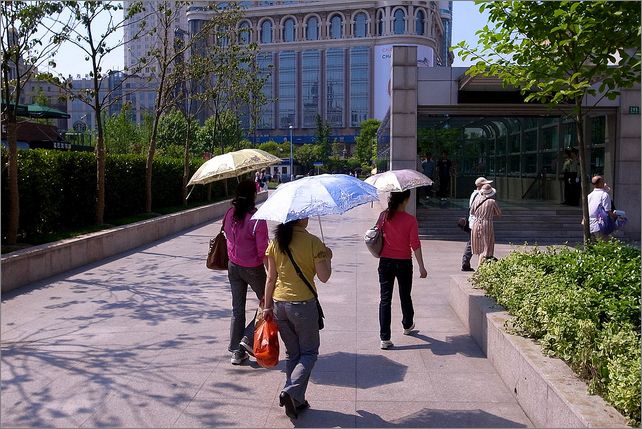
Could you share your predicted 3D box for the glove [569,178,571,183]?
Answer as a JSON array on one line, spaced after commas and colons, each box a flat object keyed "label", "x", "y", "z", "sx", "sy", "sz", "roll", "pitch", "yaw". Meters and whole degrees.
[{"label": "glove", "x": 9.129, "y": -1.270, "z": 21.597, "sx": 0.039, "sy": 0.115, "sz": 0.083, "roll": 1, "pitch": -3, "yaw": -22}]

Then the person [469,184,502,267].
[{"label": "person", "x": 3.636, "y": 0.245, "z": 13.107, "sx": 0.626, "sy": 1.854, "sz": 0.748, "roll": 3, "pitch": 10, "yaw": 14}]

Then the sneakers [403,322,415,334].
[{"label": "sneakers", "x": 1.494, "y": 1.902, "z": 9.970, "sx": 0.086, "sy": 0.105, "sz": 0.249, "roll": 14, "pitch": 48, "yaw": 35}]

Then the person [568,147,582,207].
[{"label": "person", "x": 9.364, "y": -1.391, "z": 21.632, "sx": 0.426, "sy": 2.130, "sz": 1.079, "roll": 4, "pitch": 11, "yaw": 23}]

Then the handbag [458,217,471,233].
[{"label": "handbag", "x": 3.613, "y": 0.233, "z": 14.829, "sx": 0.222, "sy": 0.412, "sz": 0.436, "roll": 6, "pitch": 12, "yaw": -10}]

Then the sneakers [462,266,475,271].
[{"label": "sneakers", "x": 3.565, "y": 1.292, "z": 14.276, "sx": 0.279, "sy": 0.179, "sz": 0.113, "roll": -4, "pitch": 7, "yaw": -14}]

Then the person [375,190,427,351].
[{"label": "person", "x": 1.286, "y": 0.852, "z": 9.538, "sx": 0.753, "sy": 2.477, "sz": 0.774, "roll": 0, "pitch": 10, "yaw": -2}]

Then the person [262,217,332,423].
[{"label": "person", "x": -0.388, "y": 1.266, "z": 7.693, "sx": 0.772, "sy": 2.414, "sz": 0.883, "roll": 6, "pitch": 11, "yaw": 30}]

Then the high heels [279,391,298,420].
[{"label": "high heels", "x": -0.411, "y": 2.391, "z": 7.452, "sx": 0.148, "sy": 0.424, "sz": 0.170, "roll": -12, "pitch": 15, "yaw": 37}]

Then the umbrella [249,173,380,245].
[{"label": "umbrella", "x": -0.052, "y": -0.228, "z": 7.902, "sx": 0.987, "sy": 0.599, "sz": 1.002, "roll": -11, "pitch": -4, "yaw": -37}]
